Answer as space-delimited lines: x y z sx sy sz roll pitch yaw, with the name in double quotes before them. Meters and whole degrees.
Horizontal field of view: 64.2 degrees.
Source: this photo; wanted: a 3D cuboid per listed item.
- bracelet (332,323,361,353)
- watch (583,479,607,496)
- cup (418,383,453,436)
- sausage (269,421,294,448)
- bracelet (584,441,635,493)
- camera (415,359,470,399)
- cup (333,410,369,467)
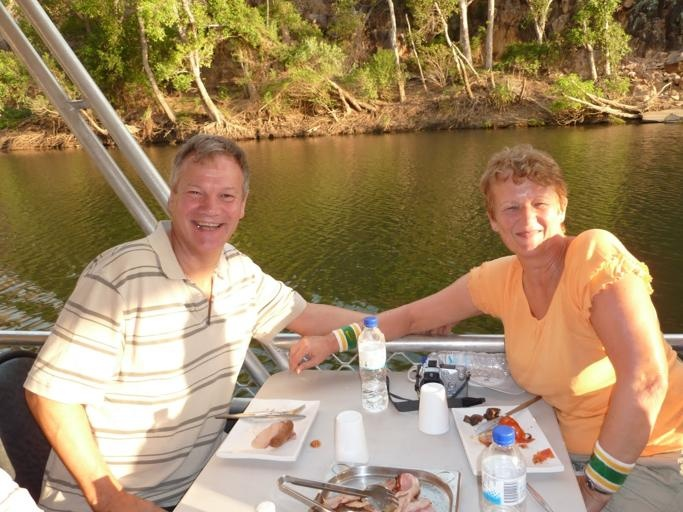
"bracelet" 0.025 0.395 2.620 0.145 0.115 0.102 -22 10 -8
"watch" 0.939 0.863 2.025 0.070 0.024 0.058 25 2 34
"cup" 0.300 0.576 2.038 0.183 0.155 0.171 -1 6 0
"sausage" -0.216 0.657 1.994 0.073 0.033 0.086 30 56 21
"bracelet" 1.031 0.813 2.041 0.159 0.123 0.156 9 1 -41
"camera" 0.424 0.488 2.234 0.192 0.089 0.168 1 4 8
"cup" 0.037 0.639 1.925 0.197 0.155 0.152 -2 10 -2
